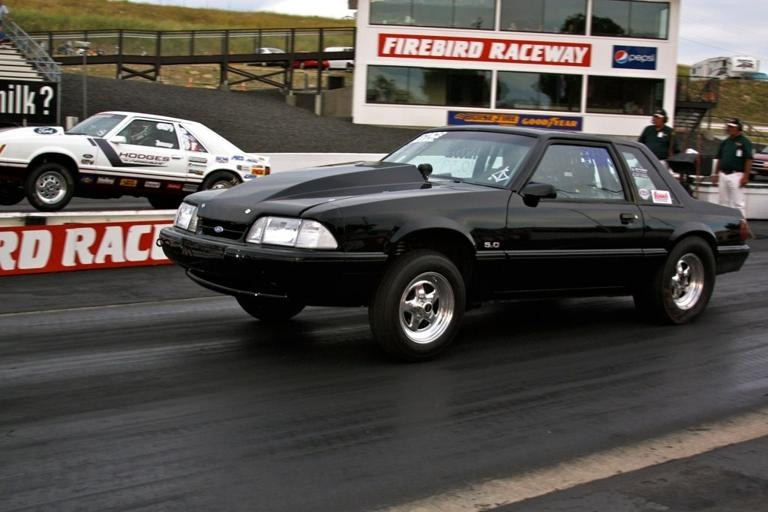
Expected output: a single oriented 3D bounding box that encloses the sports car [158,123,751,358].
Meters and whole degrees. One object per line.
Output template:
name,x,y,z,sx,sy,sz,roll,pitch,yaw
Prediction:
sports car,0.855,-0.235,6.193,5.041,2.043,1.466,-4,16,-27
